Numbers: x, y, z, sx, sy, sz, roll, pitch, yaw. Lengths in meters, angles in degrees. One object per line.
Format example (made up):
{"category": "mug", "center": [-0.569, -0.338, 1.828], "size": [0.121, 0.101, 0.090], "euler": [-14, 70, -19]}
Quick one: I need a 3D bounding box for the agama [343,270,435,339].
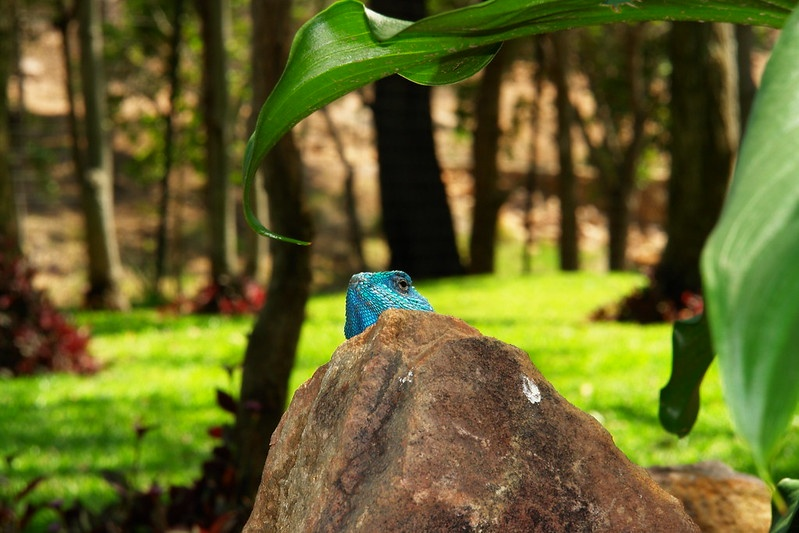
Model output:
{"category": "agama", "center": [-0.070, 0.210, 6.690], "size": [0.421, 0.277, 0.300], "euler": [26, -14, -38]}
